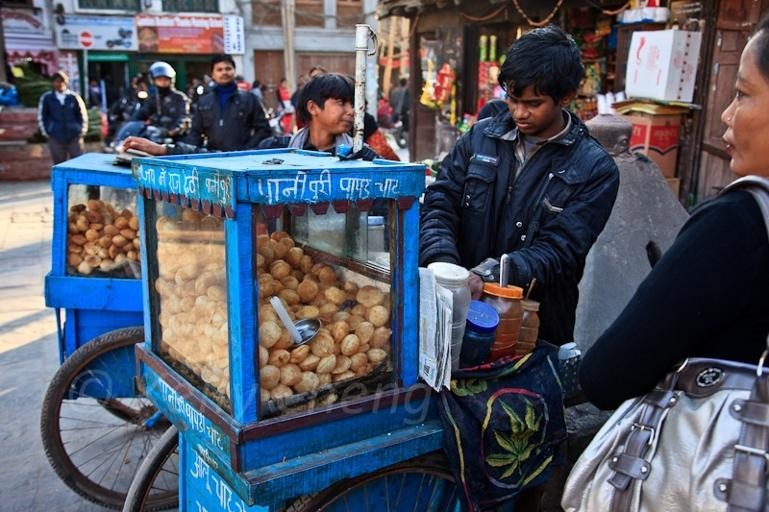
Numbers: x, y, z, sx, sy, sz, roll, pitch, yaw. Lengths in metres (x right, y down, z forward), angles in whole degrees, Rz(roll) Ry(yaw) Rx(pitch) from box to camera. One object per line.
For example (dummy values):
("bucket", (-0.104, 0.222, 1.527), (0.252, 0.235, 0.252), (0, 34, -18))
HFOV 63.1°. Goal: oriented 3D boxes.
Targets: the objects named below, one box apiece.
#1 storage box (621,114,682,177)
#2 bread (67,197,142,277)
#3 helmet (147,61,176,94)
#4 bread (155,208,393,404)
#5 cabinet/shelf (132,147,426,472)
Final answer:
("storage box", (2.611, -1.021, 6.067), (0.426, 0.607, 0.439), (7, 12, 43))
("bread", (-1.625, -0.112, 3.581), (0.340, 0.478, 0.142), (-1, 5, -11))
("helmet", (-2.814, -2.226, 7.883), (0.343, 0.408, 0.421), (-5, 19, -21))
("bread", (-0.451, 0.205, 2.453), (0.749, 0.577, 0.745), (0, 7, -30))
("cabinet/shelf", (-0.448, 0.139, 2.606), (1.187, 1.058, 1.190), (3, 10, 0))
